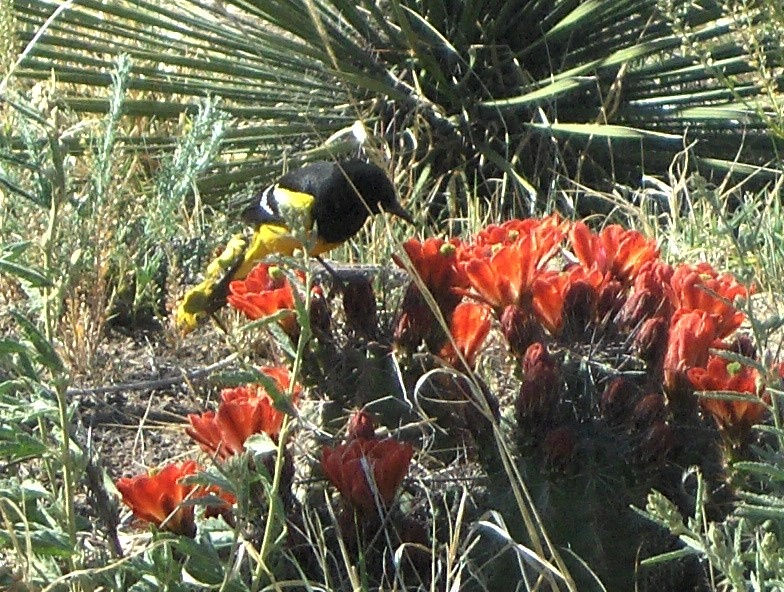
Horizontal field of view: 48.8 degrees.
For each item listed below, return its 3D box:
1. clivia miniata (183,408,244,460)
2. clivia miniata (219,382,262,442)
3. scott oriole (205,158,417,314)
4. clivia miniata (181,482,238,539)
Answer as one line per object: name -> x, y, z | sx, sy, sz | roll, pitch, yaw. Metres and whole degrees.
clivia miniata -> -0.290, 0.227, 1.467 | 0.076, 0.096, 0.092 | 1, 15, 30
clivia miniata -> -0.258, 0.192, 1.466 | 0.067, 0.079, 0.135 | 5, 14, -10
scott oriole -> -0.211, -0.185, 1.904 | 0.453, 0.295, 0.205 | 6, 19, 30
clivia miniata -> -0.287, 0.340, 1.380 | 0.091, 0.105, 0.078 | -8, 13, -31
